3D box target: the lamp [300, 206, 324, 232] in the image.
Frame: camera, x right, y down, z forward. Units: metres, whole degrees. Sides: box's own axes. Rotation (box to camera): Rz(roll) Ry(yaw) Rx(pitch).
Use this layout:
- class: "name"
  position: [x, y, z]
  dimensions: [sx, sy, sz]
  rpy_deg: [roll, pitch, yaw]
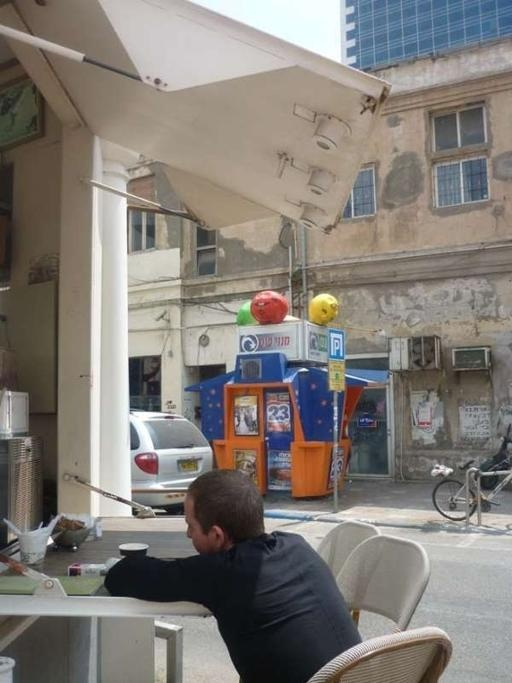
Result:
- class: "lamp"
  position: [0.317, -0.711, 4.525]
  dimensions: [0.133, 0.123, 0.113]
  rpy_deg: [22, -6, 0]

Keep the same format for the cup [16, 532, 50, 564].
- class: "cup"
  position: [-0.806, 0.738, 2.810]
  dimensions: [0.105, 0.113, 0.090]
  rpy_deg: [3, -5, -16]

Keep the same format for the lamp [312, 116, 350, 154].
- class: "lamp"
  position: [0.348, -0.967, 3.664]
  dimensions: [0.145, 0.100, 0.143]
  rpy_deg: [23, -7, 0]

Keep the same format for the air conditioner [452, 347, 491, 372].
- class: "air conditioner"
  position: [4.147, 0.340, 15.078]
  dimensions: [0.812, 0.434, 0.575]
  rpy_deg: [-3, -3, 35]

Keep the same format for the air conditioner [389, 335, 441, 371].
- class: "air conditioner"
  position: [3.254, 0.248, 15.792]
  dimensions: [1.122, 0.809, 0.680]
  rpy_deg: [-2, -6, 25]

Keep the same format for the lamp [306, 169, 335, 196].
- class: "lamp"
  position: [0.343, -0.825, 4.094]
  dimensions: [0.120, 0.088, 0.119]
  rpy_deg: [27, -24, -28]
